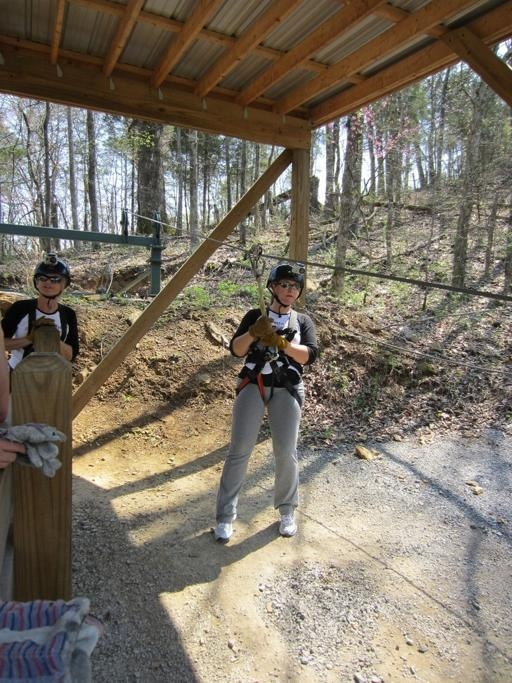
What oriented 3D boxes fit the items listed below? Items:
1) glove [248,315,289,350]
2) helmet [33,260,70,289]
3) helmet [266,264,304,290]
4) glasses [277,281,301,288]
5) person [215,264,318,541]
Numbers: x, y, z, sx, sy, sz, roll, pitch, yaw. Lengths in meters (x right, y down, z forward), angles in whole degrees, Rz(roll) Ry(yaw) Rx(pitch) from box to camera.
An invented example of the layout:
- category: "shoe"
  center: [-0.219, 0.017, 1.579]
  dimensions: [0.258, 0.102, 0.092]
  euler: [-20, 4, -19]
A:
- category: "glove"
  center: [0.063, -0.039, 3.557]
  dimensions: [0.308, 0.175, 0.122]
  euler: [42, -32, -26]
- category: "helmet"
  center: [-1.591, -0.555, 3.894]
  dimensions: [0.202, 0.244, 0.191]
  euler: [9, 10, -12]
- category: "helmet"
  center: [0.204, -0.509, 3.842]
  dimensions: [0.296, 0.188, 0.233]
  euler: [4, 9, 11]
- category: "glasses"
  center: [0.239, -0.432, 3.781]
  dimensions: [0.088, 0.024, 0.086]
  euler: [10, -21, -12]
- category: "person"
  center: [0.074, 0.471, 3.897]
  dimensions: [0.704, 2.151, 0.718]
  euler: [4, 10, 7]
